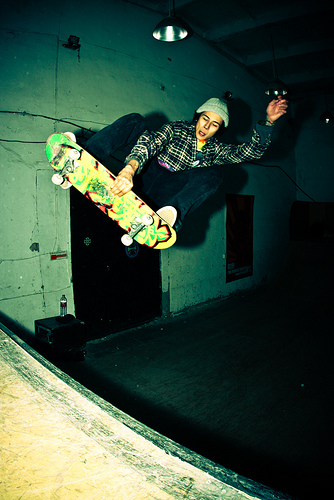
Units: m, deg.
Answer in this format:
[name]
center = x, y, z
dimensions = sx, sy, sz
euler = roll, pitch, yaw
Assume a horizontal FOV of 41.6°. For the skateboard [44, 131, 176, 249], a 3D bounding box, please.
[skateboard]
center = -0.488, -0.492, 3.553
dimensions = 0.363, 1.563, 0.232
euler = -51, -3, 34
